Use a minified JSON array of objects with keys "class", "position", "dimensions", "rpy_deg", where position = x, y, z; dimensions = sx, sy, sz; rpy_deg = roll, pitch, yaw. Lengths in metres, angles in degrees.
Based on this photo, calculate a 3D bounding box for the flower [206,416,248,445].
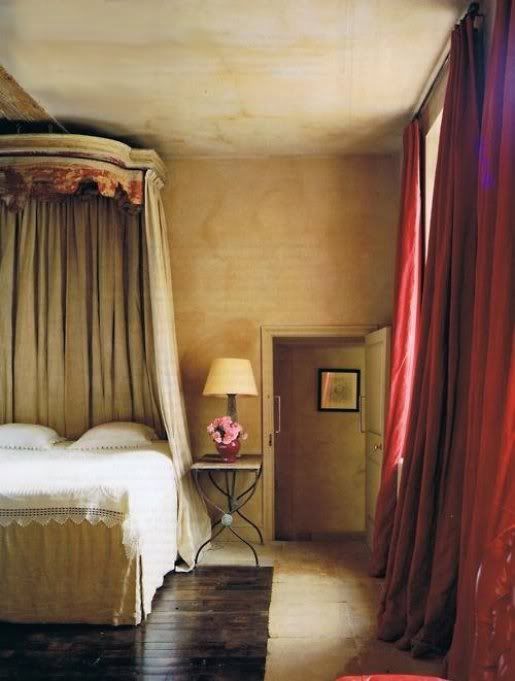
[{"class":"flower","position":[-0.233,0.653,4.994],"dimensions":[0.263,0.200,0.234],"rpy_deg":[0,1,-7]}]

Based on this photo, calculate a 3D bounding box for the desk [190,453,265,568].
[{"class":"desk","position":[-0.198,1.297,5.322],"dimensions":[0.518,0.671,0.916],"rpy_deg":[0,-9,3]}]

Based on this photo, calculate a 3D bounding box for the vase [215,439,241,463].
[{"class":"vase","position":[-0.216,0.786,4.951],"dimensions":[0.149,0.164,0.151],"rpy_deg":[-1,0,-2]}]

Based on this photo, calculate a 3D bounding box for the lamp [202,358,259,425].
[{"class":"lamp","position":[-0.193,0.344,5.113],"dimensions":[0.401,0.477,0.398],"rpy_deg":[6,12,33]}]
